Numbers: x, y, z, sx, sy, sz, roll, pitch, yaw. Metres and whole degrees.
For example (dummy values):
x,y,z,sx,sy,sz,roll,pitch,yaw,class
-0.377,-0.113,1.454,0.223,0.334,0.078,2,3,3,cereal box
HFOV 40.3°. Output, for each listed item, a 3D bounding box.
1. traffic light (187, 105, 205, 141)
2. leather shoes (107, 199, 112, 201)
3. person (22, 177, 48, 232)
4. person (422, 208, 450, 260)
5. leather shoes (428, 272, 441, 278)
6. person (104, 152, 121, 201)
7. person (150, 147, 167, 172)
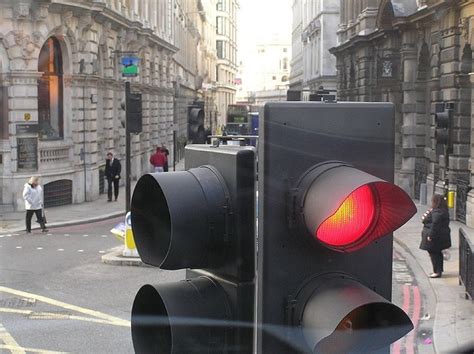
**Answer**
x,y,z,sx,sy,sz,roll,pitch,yaw,class
-0.952,-1.212,15.102,0.368,1.145,0.344,-6,15,-24,traffic light
-5.180,0.922,26.267,0.148,0.106,0.209,-2,7,-11,leather shoes
-6.169,0.824,19.784,0.639,1.748,0.819,-2,7,-20,person
4.547,1.085,14.764,0.580,1.039,0.913,2,8,21,person
4.466,2.222,14.651,0.287,0.146,0.111,5,-10,11,leather shoes
-5.140,-0.013,26.752,0.635,1.962,1.232,-2,6,-12,person
-3.539,-0.687,29.121,0.691,1.794,0.539,-4,39,-11,person
